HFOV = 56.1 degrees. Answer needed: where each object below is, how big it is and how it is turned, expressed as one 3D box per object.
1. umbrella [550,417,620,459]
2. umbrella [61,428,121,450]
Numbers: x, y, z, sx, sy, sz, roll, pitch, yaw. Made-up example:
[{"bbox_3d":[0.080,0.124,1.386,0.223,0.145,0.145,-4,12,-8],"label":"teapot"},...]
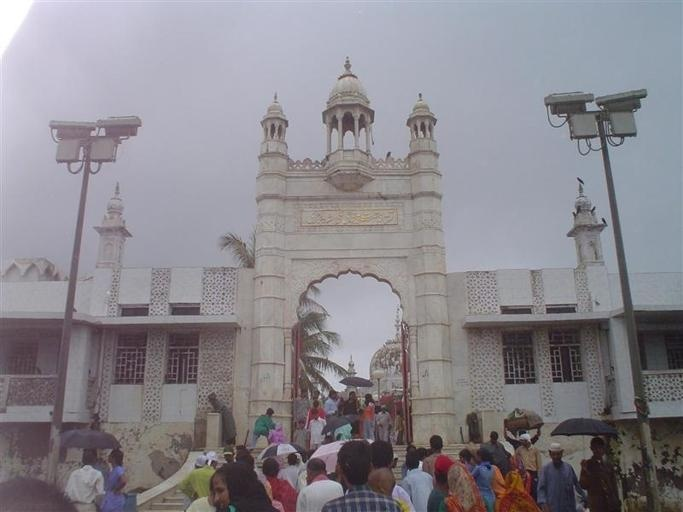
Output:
[{"bbox_3d":[5.811,4.322,15.136,1.823,0.705,1.879,7,-19,-11],"label":"umbrella"},{"bbox_3d":[-4.929,3.584,12.574,1.061,0.399,0.783,7,-21,-24],"label":"umbrella"}]
